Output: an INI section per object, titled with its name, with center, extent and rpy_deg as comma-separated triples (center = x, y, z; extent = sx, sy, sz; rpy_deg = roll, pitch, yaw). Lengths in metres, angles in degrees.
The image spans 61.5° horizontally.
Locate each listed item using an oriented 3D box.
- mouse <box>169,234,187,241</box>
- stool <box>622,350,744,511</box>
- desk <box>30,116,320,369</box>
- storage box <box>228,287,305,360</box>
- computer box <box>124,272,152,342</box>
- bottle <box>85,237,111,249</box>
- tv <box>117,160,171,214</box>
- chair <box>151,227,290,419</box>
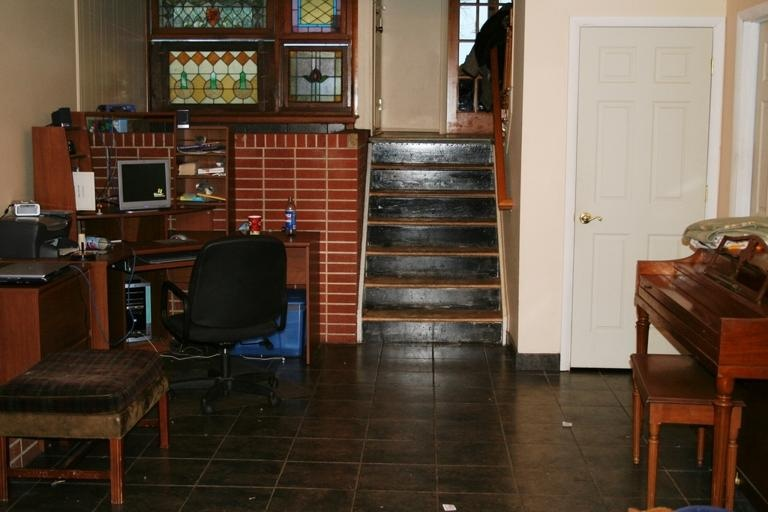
[mouse]
center = -1.774, -0.157, 5.514
extent = 0.142, 0.032, 0.089
rpy_deg = 2, 9, 12
[stool]
center = 1.747, 1.022, 3.726
extent = 0.620, 0.638, 1.049
rpy_deg = 0, 9, 5
[desk]
center = -1.726, -0.091, 5.183
extent = 2.868, 2.076, 1.294
rpy_deg = -1, 2, -14
[storage box]
center = -1.087, 0.592, 5.797
extent = 0.721, 0.478, 0.643
rpy_deg = 0, 3, -8
[computer box]
center = -2.087, 0.458, 5.444
extent = 0.218, 0.535, 0.227
rpy_deg = -5, 14, -14
[bottle]
center = -2.205, -0.100, 4.944
extent = 0.179, 0.049, 0.085
rpy_deg = 2, 12, 0
[tv]
center = -2.067, -0.590, 5.491
extent = 0.574, 0.440, 0.191
rpy_deg = -5, 1, -35
[chair]
center = -1.160, 0.470, 4.736
extent = 0.895, 1.280, 0.376
rpy_deg = -5, 14, -14
